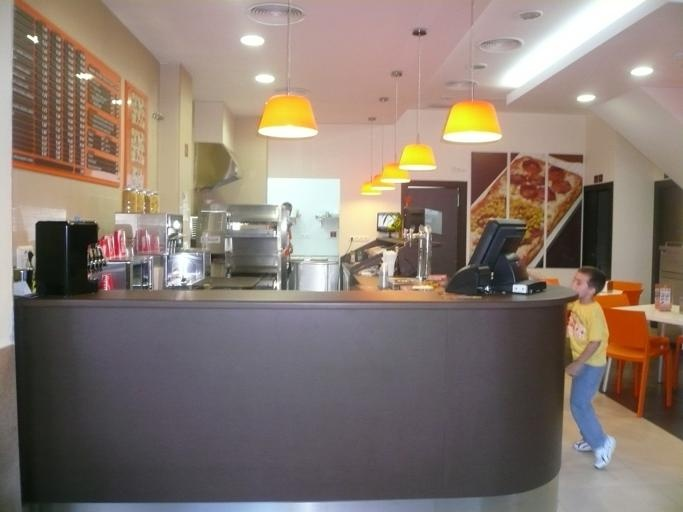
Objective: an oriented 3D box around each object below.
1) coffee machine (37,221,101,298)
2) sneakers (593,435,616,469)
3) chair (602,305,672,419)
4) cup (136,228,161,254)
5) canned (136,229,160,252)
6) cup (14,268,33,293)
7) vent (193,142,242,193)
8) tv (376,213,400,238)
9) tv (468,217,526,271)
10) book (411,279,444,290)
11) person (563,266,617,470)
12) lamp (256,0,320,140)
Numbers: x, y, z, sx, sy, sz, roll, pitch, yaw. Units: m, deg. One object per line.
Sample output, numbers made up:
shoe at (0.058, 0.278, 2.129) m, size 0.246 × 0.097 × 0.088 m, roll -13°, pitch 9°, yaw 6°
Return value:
coffee machine at (-1.625, 0.003, 3.213) m, size 0.249 × 0.434 × 0.252 m, roll 1°, pitch 4°, yaw 3°
sneakers at (1.872, 1.413, 3.934) m, size 0.110 × 0.276 × 0.095 m, roll 11°, pitch -6°, yaw -5°
chair at (2.660, 0.923, 4.959) m, size 0.592 × 0.849 × 0.602 m, roll 2°, pitch 3°, yaw 37°
cup at (-1.578, -0.112, 4.448) m, size 0.195 × 0.216 × 0.151 m, roll 0°, pitch 0°, yaw 9°
canned at (-1.582, -0.119, 4.455) m, size 0.185 × 0.123 × 0.039 m, roll 1°, pitch 0°, yaw -25°
cup at (-1.806, 0.148, 3.107) m, size 0.093 × 0.149 × 0.063 m, roll 1°, pitch 0°, yaw -33°
vent at (-1.882, -1.320, 7.906) m, size 0.440 × 0.719 × 1.392 m, roll 16°, pitch 10°, yaw -21°
tv at (0.682, -0.470, 8.145) m, size 0.369 × 0.380 × 0.127 m, roll -1°, pitch -4°, yaw 29°
tv at (0.972, -0.079, 3.410) m, size 0.450 × 0.279 × 0.180 m, roll 1°, pitch 0°, yaw -34°
book at (0.658, 0.217, 4.091) m, size 0.207 × 0.070 × 0.909 m, roll 1°, pitch 0°, yaw 12°
person at (1.780, 0.789, 3.941) m, size 0.332 × 1.476 × 0.631 m, roll 1°, pitch 0°, yaw 27°
lamp at (-0.392, -1.441, 4.241) m, size 0.398 × 1.270 × 1.584 m, roll 1°, pitch 0°, yaw -3°
